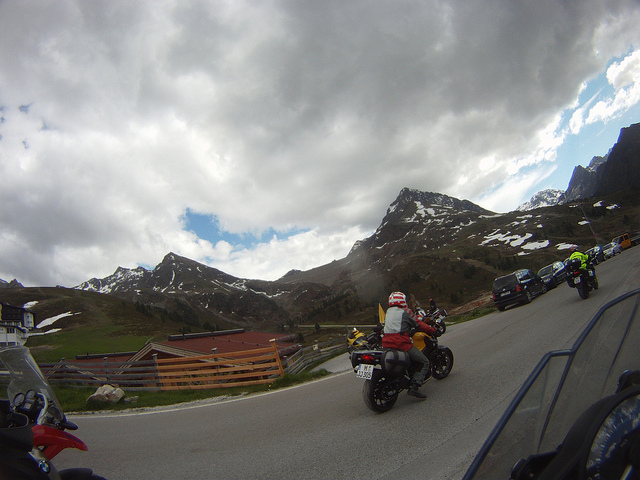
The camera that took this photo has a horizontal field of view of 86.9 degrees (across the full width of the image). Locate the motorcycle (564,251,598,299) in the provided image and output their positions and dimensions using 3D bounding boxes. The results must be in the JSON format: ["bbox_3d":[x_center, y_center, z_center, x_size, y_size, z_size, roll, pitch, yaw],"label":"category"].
[{"bbox_3d":[11.902,1.407,15.381,1.660,2.099,0.987,-3,-22,-47],"label":"motorcycle"}]

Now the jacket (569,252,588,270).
[{"bbox_3d":[11.756,0.691,15.416,0.709,0.678,0.616,0,3,-32],"label":"jacket"}]

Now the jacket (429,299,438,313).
[{"bbox_3d":[3.300,1.750,9.915,0.275,0.511,0.286,0,-5,18],"label":"jacket"}]

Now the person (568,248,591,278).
[{"bbox_3d":[11.883,0.809,15.406,0.656,1.401,1.262,-29,-17,31],"label":"person"}]

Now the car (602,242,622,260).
[{"bbox_3d":[32.377,0.652,37.973,4.415,1.489,1.825,-8,-8,-41],"label":"car"}]

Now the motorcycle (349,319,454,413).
[{"bbox_3d":[2.140,2.563,8.186,3.237,1.838,1.403,-6,0,-39],"label":"motorcycle"}]

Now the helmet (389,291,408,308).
[{"bbox_3d":[1.836,1.255,8.042,0.439,0.400,0.313,-4,2,-40],"label":"helmet"}]
